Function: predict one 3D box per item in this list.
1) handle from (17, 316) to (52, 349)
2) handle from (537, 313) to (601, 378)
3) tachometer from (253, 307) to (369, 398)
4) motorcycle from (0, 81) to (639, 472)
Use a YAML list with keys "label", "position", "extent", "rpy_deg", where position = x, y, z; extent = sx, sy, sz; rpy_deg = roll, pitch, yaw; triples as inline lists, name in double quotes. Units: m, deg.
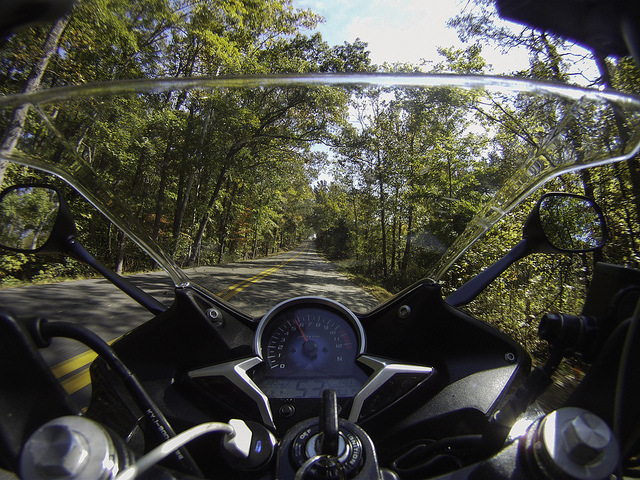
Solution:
- label: "handle"
  position: [-1.023, 0.331, 1.366]
  extent: [0.174, 0.058, 0.065]
  rpy_deg: [15, -5, 35]
- label: "handle"
  position: [1.042, 0.400, 1.629]
  extent: [0.171, 0.291, 0.197]
  rpy_deg: [-5, 7, -20]
- label: "tachometer"
  position: [-0.054, 0.610, 2.026]
  extent: [0.400, 0.412, 0.086]
  rpy_deg: [3, -19, -1]
- label: "motorcycle"
  position: [0.043, 0.147, 1.803]
  extent: [2.147, 1.215, 1.069]
  rpy_deg: [-2, -18, 7]
